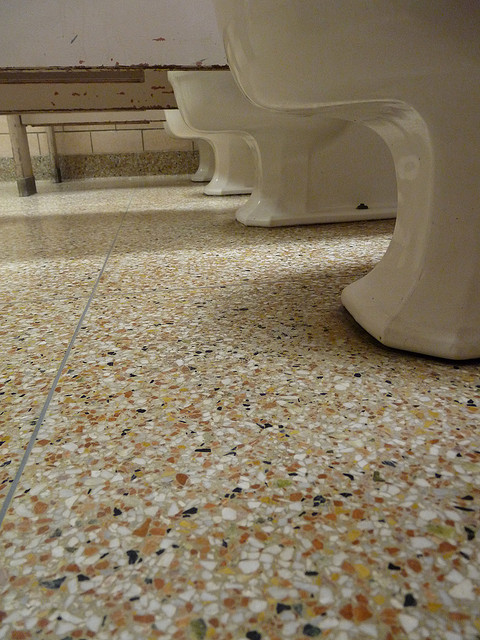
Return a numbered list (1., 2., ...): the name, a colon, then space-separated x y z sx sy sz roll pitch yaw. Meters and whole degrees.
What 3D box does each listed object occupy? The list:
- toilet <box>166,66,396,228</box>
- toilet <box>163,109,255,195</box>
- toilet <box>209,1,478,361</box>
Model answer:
1. toilet: 0.140 -0.554 1.694 0.815 0.474 0.561 -1 26 -9
2. toilet: -0.138 -0.984 2.585 0.465 0.395 0.335 10 45 11
3. toilet: 0.130 -0.150 0.549 0.236 0.386 0.243 -9 24 -24
